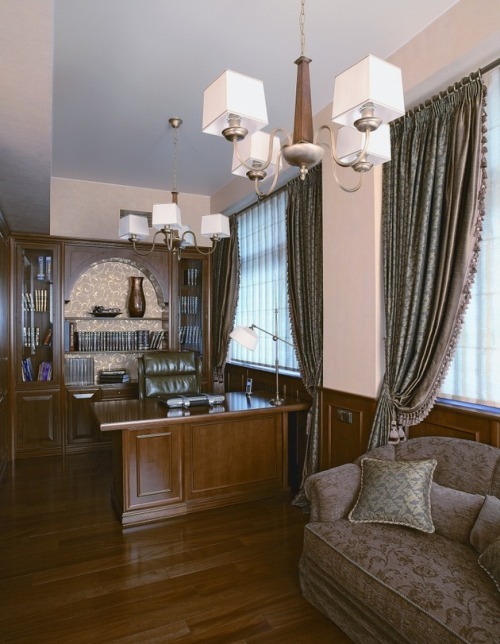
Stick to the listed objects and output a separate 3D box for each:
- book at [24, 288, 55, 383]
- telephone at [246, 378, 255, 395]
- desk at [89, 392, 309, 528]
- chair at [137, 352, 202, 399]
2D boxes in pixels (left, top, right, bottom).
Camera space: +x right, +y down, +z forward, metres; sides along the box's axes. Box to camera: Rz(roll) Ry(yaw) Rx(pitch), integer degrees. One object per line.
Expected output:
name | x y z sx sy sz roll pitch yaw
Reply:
book | -2.149 0.128 5.240 0.290 0.956 0.091 -1 1 -24
telephone | 0.010 0.599 4.751 0.055 0.176 0.147 5 -8 -21
desk | -0.403 0.965 3.770 1.411 0.729 0.504 -2 1 -28
chair | -0.723 0.492 4.679 0.366 0.601 0.421 3 -10 -18
